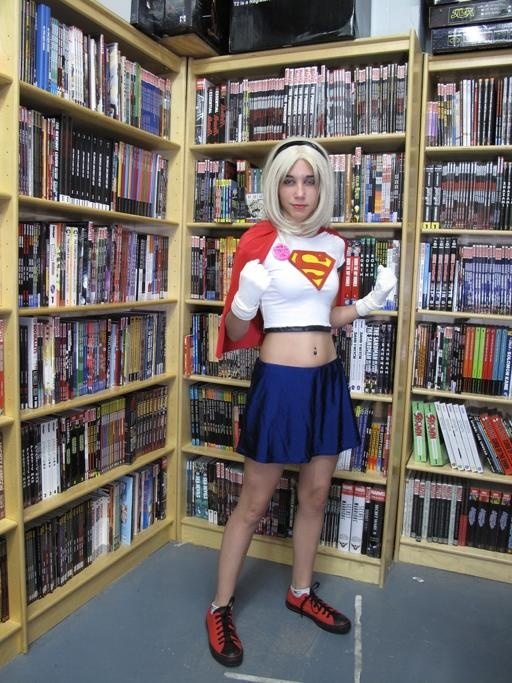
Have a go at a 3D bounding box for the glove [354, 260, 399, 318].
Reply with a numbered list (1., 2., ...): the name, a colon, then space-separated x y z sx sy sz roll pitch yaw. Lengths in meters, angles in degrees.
1. glove: 0.356 -0.156 1.642 0.072 0.184 0.088 -38 -12 28

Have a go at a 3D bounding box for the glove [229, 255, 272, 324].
1. glove: -0.020 -0.136 1.394 0.070 0.162 0.146 1 3 -18

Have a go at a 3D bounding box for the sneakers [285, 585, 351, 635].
1. sneakers: 0.222 0.915 1.850 0.240 0.114 0.082 6 20 44

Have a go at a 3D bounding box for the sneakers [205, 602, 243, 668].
1. sneakers: -0.091 0.904 1.613 0.061 0.089 0.194 0 0 -6
